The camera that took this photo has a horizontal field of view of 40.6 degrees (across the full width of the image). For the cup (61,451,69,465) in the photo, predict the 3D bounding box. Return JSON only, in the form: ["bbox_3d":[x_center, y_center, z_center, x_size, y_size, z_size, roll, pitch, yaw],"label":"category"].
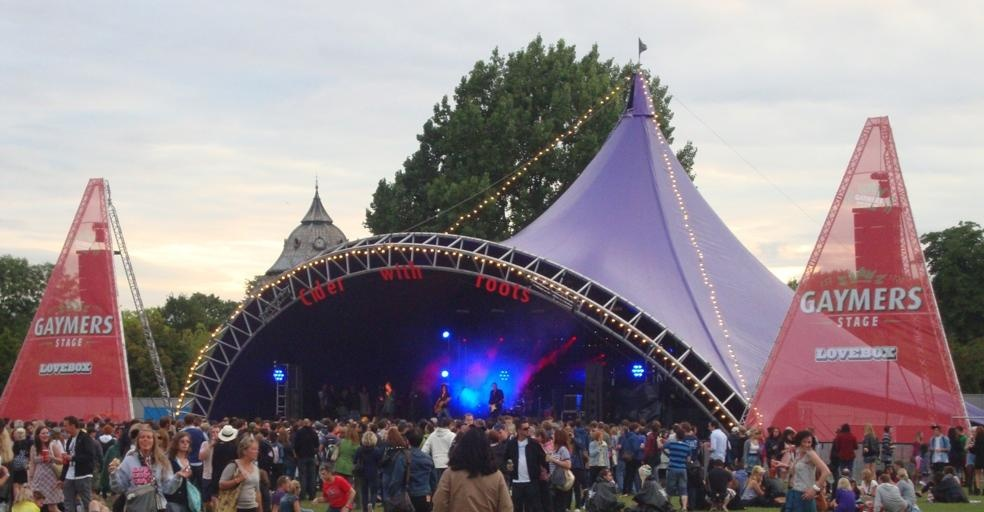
[{"bbox_3d":[-16.382,7.852,51.220,0.157,0.356,0.301,-8,-2,-12],"label":"cup"}]

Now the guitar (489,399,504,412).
[{"bbox_3d":[0.279,8.257,72.079,0.679,0.508,0.609,3,-11,-12],"label":"guitar"}]

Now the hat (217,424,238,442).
[{"bbox_3d":[-9.881,6.666,49.928,0.636,0.236,0.679,3,11,-5],"label":"hat"}]

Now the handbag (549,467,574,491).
[{"bbox_3d":[2.680,8.635,51.096,1.209,0.986,0.612,5,-12,-23],"label":"handbag"}]
